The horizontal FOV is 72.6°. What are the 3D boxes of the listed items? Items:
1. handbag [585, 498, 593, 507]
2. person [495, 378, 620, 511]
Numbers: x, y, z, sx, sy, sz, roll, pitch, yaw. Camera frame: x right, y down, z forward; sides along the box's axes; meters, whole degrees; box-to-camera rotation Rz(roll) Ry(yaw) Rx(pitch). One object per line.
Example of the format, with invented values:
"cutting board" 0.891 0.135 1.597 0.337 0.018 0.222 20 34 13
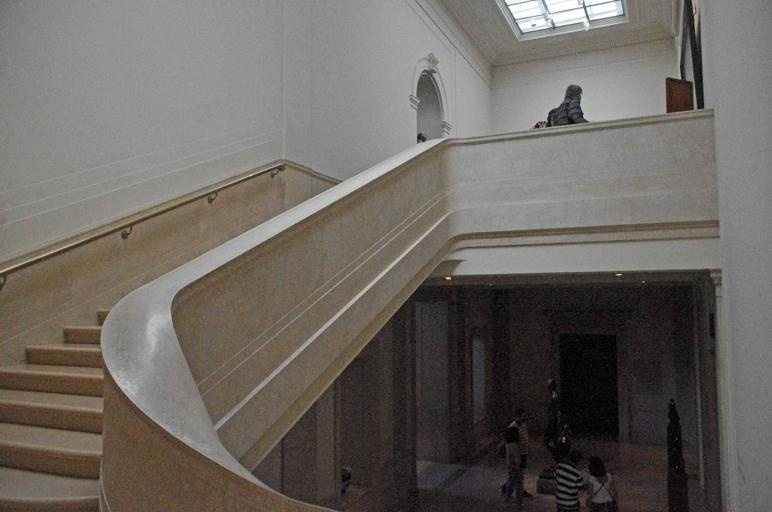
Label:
"handbag" 2.854 3.449 7.373 0.081 0.162 0.084 -2 -15 8
"person" 2.508 2.792 7.820 1.433 1.933 0.735 1 -3 29
